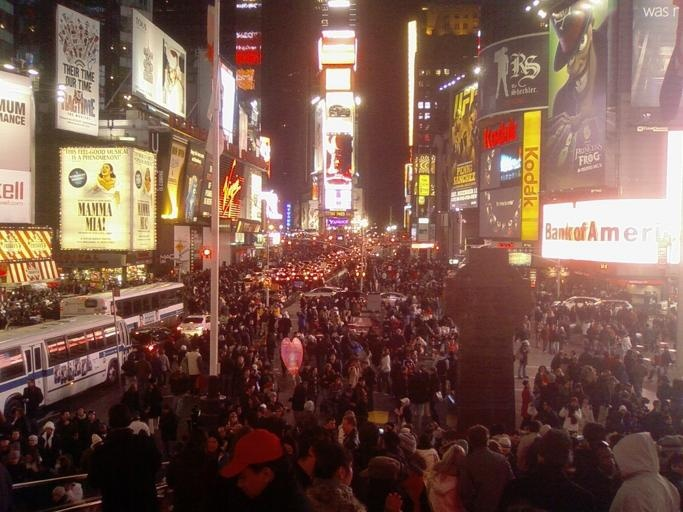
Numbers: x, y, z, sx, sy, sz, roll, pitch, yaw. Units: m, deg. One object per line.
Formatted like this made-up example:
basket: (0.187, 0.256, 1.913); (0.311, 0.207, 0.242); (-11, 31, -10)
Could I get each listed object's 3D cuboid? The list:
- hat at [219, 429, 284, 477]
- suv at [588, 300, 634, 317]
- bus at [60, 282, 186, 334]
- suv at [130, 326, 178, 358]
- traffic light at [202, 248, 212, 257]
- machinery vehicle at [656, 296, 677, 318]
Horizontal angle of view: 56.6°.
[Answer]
hat: (-1.329, 2.912, 9.544); (0.813, 0.481, 0.600); (-14, 11, -6)
suv: (15.610, 3.151, 36.739); (2.981, 1.029, 1.361); (-7, 11, -34)
bus: (-10.414, 2.710, 31.851); (1.901, 2.364, 9.592); (2, 1, 8)
suv: (-8.451, 3.681, 28.640); (1.199, 1.026, 2.844); (2, 7, 11)
traffic light: (-4.232, -0.126, 19.944); (0.279, 0.324, 0.072); (-4, -11, 19)
machinery vehicle: (18.881, 2.928, 36.807); (0.874, 0.603, 1.551); (-3, 0, 10)
